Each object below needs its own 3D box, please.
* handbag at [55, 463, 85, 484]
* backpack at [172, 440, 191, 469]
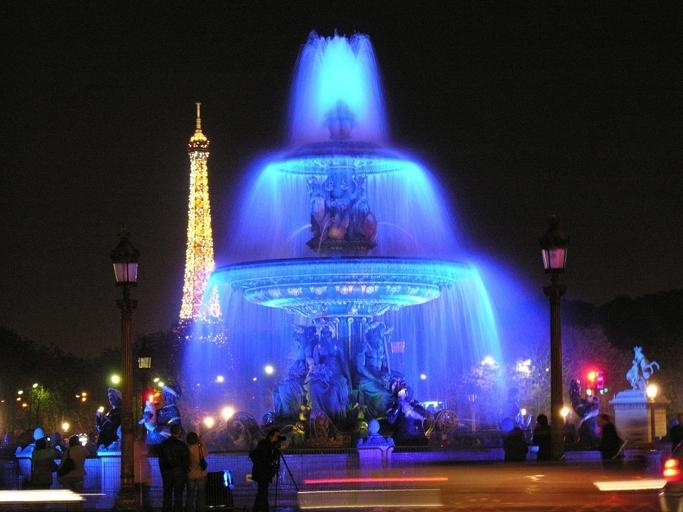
[{"bbox_3d":[-4.505,3.579,15.329,0.299,0.428,0.406,7,8,-15],"label":"handbag"},{"bbox_3d":[-2.466,3.019,14.144,0.275,0.480,0.155,1,-18,-11],"label":"backpack"}]
